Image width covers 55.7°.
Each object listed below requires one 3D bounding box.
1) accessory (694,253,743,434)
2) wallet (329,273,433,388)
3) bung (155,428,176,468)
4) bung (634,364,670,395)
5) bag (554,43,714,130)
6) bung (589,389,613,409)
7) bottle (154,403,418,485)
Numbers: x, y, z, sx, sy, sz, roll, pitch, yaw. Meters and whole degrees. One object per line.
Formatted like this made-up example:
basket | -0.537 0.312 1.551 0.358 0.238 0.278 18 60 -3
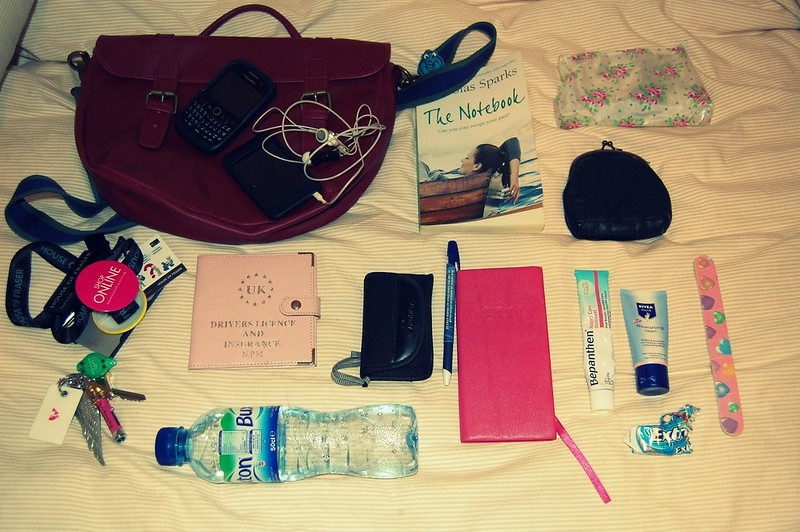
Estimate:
accessory | 0.802 0.194 1.882 0.068 0.433 0.016 -4 -18 10
wallet | -0.022 0.159 1.844 0.273 0.262 0.080 3 -11 3
bung | -0.569 0.437 1.845 0.051 0.085 0.058 -3 27 1
bung | 0.623 0.280 1.872 0.077 0.075 0.082 6 53 11
bag | 0.639 -0.491 2.069 0.336 0.237 0.089 -1 -23 2
bung | 0.496 0.328 1.871 0.050 0.037 0.045 -7 -17 28
bottle | -0.242 0.438 1.968 0.790 0.223 0.214 0 -8 -2
